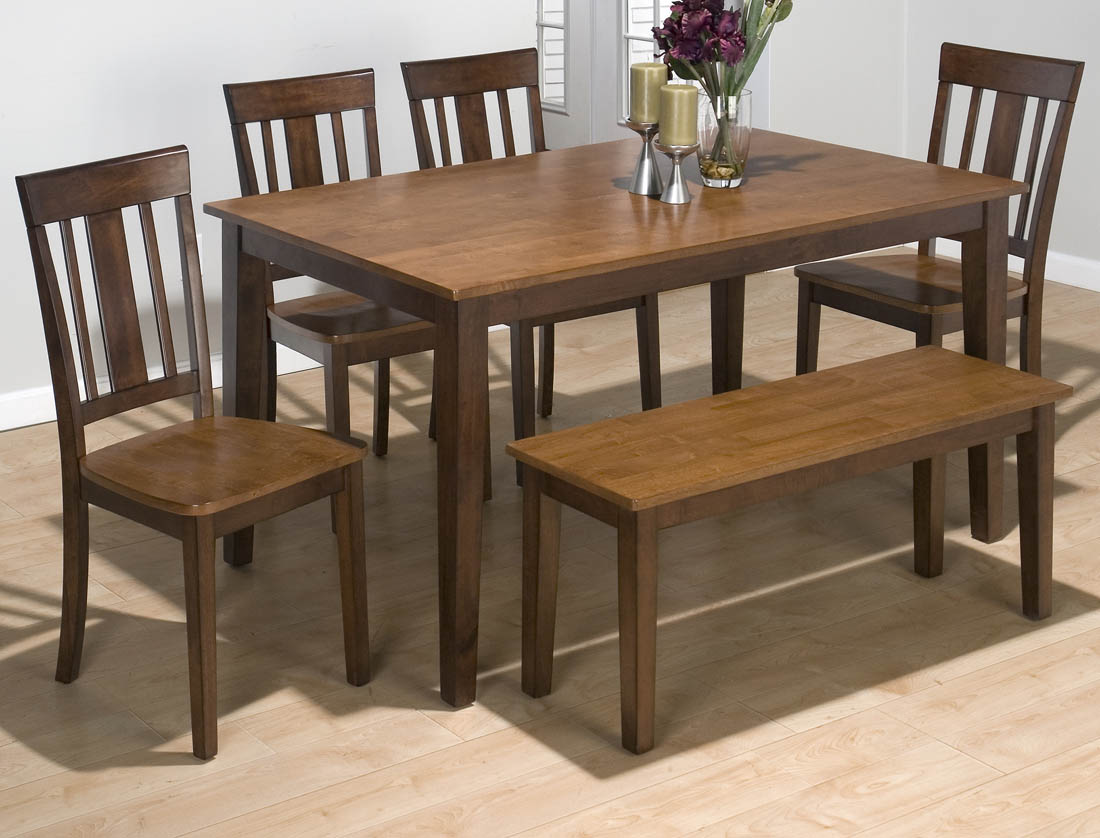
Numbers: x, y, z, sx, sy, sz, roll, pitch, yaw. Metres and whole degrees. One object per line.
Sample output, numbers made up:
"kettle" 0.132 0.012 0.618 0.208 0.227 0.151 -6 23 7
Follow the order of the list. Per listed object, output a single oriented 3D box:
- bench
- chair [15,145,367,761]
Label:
"bench" 0.525 0.157 2.266 1.110 0.377 0.369 -14 29 -24
"chair" -0.756 0.050 2.103 0.676 1.069 0.773 -25 36 -34
